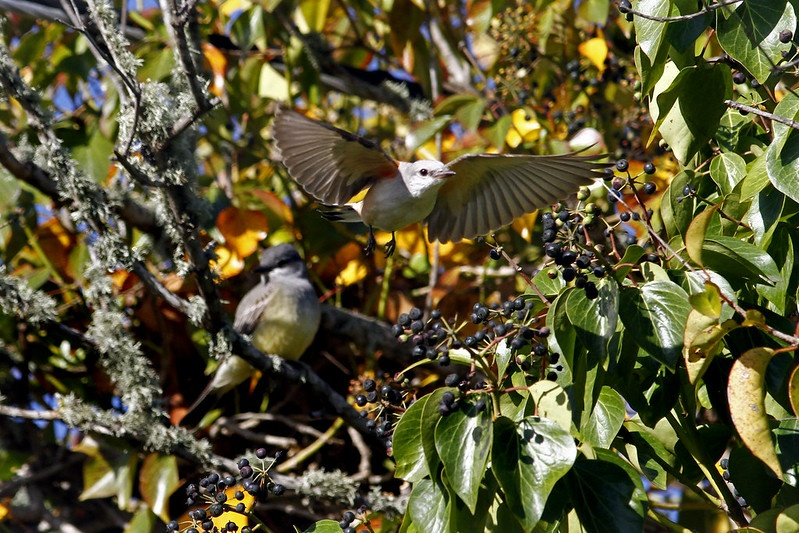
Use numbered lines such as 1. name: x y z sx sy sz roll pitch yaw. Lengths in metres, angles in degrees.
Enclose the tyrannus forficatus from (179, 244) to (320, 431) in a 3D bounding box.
1. tyrannus forficatus: -0.704 0.352 5.222 0.760 0.337 0.226 -52 -48 2
